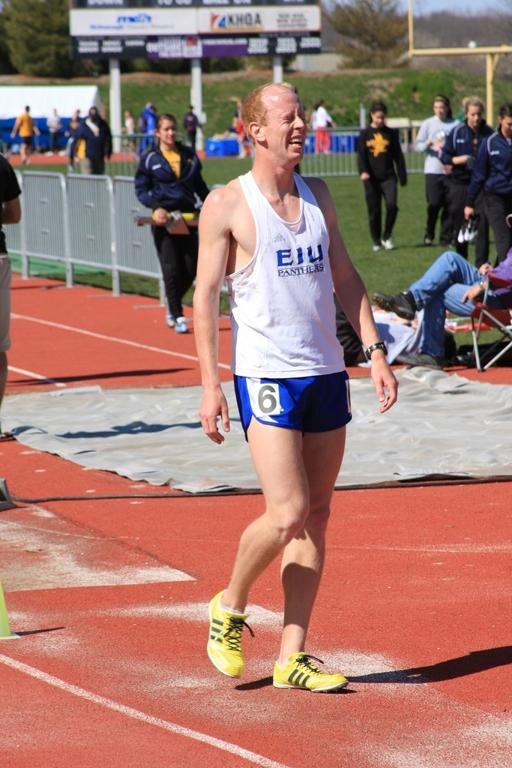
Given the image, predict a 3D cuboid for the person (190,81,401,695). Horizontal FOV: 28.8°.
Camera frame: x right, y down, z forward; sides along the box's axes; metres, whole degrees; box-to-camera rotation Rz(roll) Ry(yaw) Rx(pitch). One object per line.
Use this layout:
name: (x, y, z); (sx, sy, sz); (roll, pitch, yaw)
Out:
person: (0.117, 0.009, 2.847); (0.588, 1.709, 0.431); (-1, 5, -16)

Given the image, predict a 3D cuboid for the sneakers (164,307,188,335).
sneakers: (-0.902, -0.706, 11.544); (0.141, 0.172, 0.399); (-5, 12, -25)

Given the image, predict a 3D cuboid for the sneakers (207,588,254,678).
sneakers: (-0.082, 0.709, 2.899); (0.111, 0.120, 0.267); (18, 31, -33)

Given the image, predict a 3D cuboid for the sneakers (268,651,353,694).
sneakers: (0.144, 0.813, 2.841); (0.271, 0.121, 0.087); (0, 9, 16)
